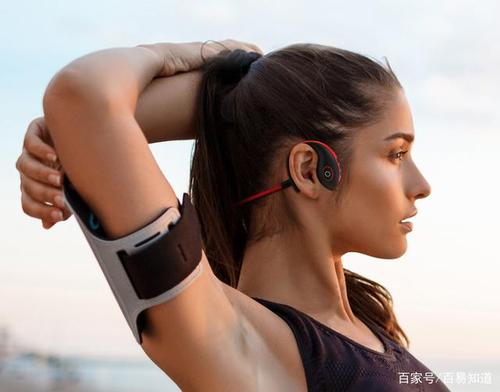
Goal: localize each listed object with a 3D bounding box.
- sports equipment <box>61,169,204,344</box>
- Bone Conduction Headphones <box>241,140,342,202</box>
[{"bbox_3d":[-0.236,0.151,1.535,0.253,0.503,0.336,-27,16,-31],"label":"sports equipment"},{"bbox_3d":[0.153,-0.064,1.819,0.228,0.130,0.117,-27,-5,19],"label":"Bone Conduction Headphones"}]
